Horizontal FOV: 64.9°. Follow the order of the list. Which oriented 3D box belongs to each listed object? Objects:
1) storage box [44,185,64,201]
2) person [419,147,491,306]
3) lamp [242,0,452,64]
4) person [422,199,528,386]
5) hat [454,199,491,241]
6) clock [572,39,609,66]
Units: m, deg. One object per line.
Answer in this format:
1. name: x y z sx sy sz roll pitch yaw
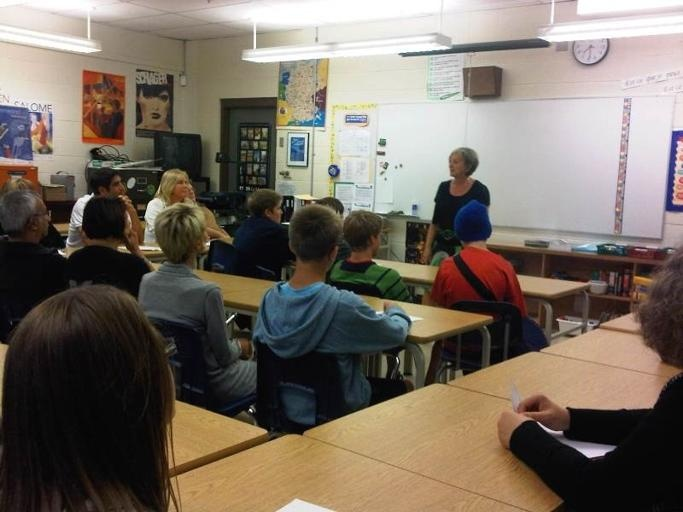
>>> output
1. storage box: -3.539 -0.769 6.590 0.193 0.145 0.198 6 7 44
2. person: 1.223 -0.080 5.835 0.694 2.160 0.615 2 20 14
3. lamp: 0.007 -2.165 5.584 2.300 0.165 0.349 7 9 32
4. person: 0.872 0.218 3.492 0.626 1.183 0.691 -2 11 1
5. hat: 0.793 -0.224 3.307 0.218 0.238 0.241 -3 6 -5
6. clock: 2.554 -2.088 5.474 0.299 0.312 0.051 -6 1 37
